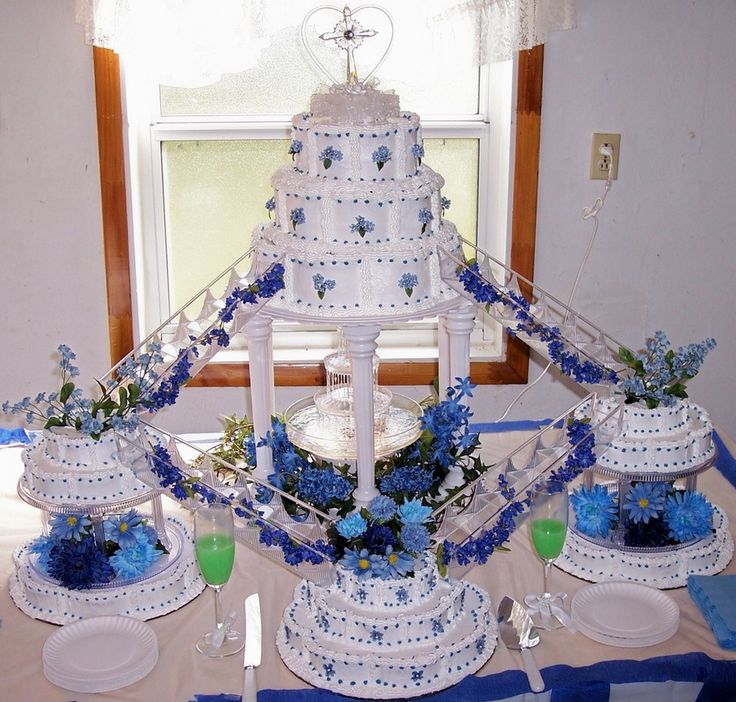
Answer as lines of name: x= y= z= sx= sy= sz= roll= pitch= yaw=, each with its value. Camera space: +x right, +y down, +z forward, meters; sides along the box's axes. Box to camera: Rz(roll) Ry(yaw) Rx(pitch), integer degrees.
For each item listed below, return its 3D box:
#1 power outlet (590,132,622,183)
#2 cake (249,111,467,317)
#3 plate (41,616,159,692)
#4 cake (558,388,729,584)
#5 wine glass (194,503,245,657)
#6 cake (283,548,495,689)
power outlet: x=0.916 y=-0.741 z=2.637 sx=0.125 sy=0.182 sz=0.038 roll=-6 pitch=14 yaw=-18
cake: x=-0.026 y=-0.352 z=1.669 sx=0.528 sy=0.443 sz=0.525 roll=4 pitch=0 yaw=38
plate: x=-0.514 y=0.580 z=1.310 sx=0.212 sy=0.044 sz=0.180 roll=-5 pitch=16 yaw=-11
cake: x=0.658 y=0.283 z=1.679 sx=0.363 sy=0.436 sz=0.414 roll=-3 pitch=27 yaw=2
wine glass: x=-0.278 y=0.417 z=1.260 sx=0.096 sy=0.275 sz=0.091 roll=-9 pitch=16 yaw=-35
cake: x=0.039 y=0.508 z=1.355 sx=0.449 sy=0.169 sz=0.289 roll=-2 pitch=15 yaw=-1
